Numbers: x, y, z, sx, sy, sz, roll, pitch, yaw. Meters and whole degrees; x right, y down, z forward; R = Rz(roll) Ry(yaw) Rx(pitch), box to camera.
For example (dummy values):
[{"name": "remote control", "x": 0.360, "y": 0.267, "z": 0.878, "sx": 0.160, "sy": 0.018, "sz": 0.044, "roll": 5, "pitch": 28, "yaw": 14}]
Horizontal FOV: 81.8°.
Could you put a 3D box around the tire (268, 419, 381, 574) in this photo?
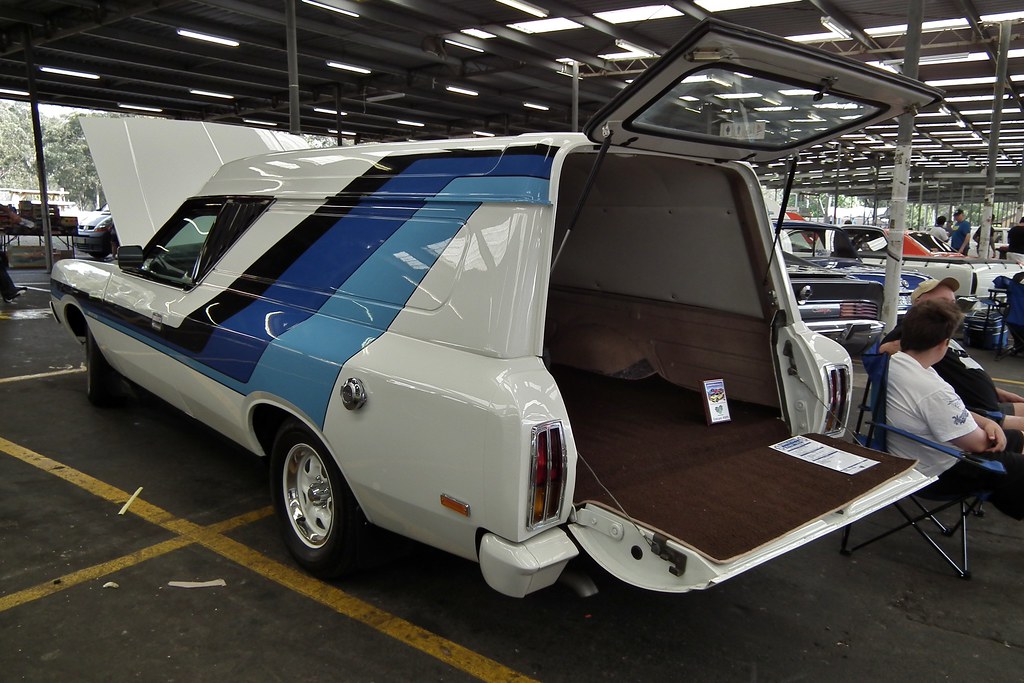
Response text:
[{"name": "tire", "x": -1.107, "y": 0.934, "z": 3.568, "sx": 0.336, "sy": 0.876, "sz": 0.882, "roll": -6, "pitch": 20, "yaw": -43}]

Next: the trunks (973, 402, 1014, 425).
[{"name": "trunks", "x": 3.754, "y": 0.562, "z": 4.608, "sx": 0.261, "sy": 0.075, "sz": 0.262, "roll": 9, "pitch": 4, "yaw": -5}]

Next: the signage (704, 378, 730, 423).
[{"name": "signage", "x": 1.480, "y": 0.445, "z": 4.316, "sx": 0.239, "sy": 0.287, "sz": 0.078, "roll": 2, "pitch": -8, "yaw": -27}]

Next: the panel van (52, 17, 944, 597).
[{"name": "panel van", "x": -0.646, "y": -0.517, "z": 4.513, "sx": 3.106, "sy": 2.138, "sz": 5.692, "roll": -12, "pitch": 23, "yaw": -41}]
